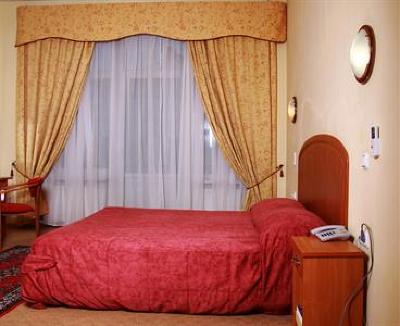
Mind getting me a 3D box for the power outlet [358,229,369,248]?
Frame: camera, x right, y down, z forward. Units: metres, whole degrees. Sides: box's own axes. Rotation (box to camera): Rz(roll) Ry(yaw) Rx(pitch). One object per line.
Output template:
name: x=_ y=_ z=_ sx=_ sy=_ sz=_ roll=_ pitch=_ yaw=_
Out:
power outlet: x=1.141 y=0.518 z=2.461 sx=0.025 sy=0.097 sz=0.092 roll=6 pitch=3 yaw=-8
